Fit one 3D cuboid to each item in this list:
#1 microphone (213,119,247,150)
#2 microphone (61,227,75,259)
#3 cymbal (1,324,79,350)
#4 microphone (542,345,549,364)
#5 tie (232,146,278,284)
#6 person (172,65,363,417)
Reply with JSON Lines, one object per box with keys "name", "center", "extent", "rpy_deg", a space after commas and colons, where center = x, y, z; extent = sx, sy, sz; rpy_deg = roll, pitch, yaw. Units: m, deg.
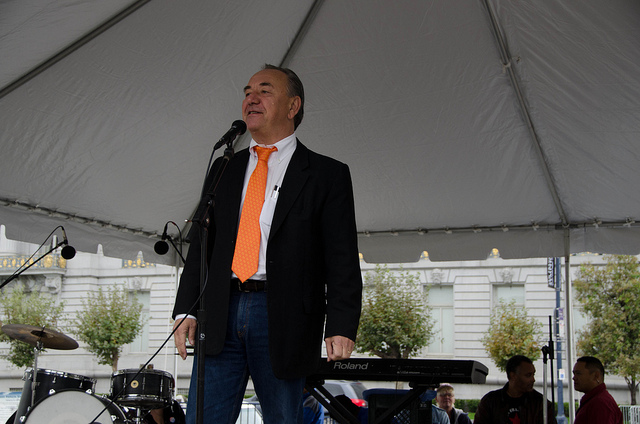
{"name": "microphone", "center": [-0.843, -0.730, 7.702], "extent": [0.149, 0.143, 0.491], "rpy_deg": [-29, 5, 47]}
{"name": "microphone", "center": [-3.150, 0.375, 10.664], "extent": [0.149, 0.408, 0.261], "rpy_deg": [-13, 7, -29]}
{"name": "cymbal", "center": [-3.982, 1.767, 12.085], "extent": [1.009, 0.379, 0.579], "rpy_deg": [-1, -10, -15]}
{"name": "microphone", "center": [2.730, 1.722, 10.267], "extent": [0.082, 0.218, 0.314], "rpy_deg": [-6, -10, 13]}
{"name": "tie", "center": [-0.556, 0.006, 7.504], "extent": [0.219, 1.220, 0.210], "rpy_deg": [11, -20, 2]}
{"name": "person", "center": [-0.485, 0.201, 7.571], "extent": [1.594, 3.159, 0.480], "rpy_deg": [-2, -10, -9]}
